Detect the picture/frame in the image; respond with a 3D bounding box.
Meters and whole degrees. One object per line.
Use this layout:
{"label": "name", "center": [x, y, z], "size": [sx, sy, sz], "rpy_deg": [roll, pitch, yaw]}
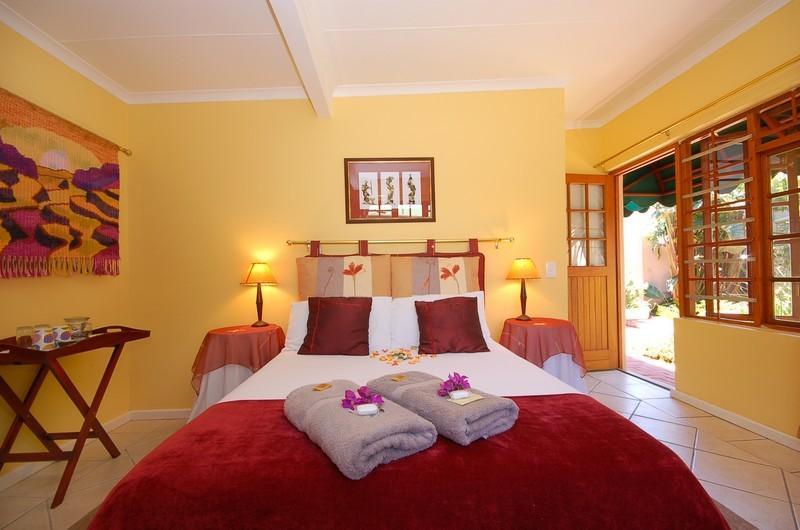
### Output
{"label": "picture/frame", "center": [-0.134, -0.737, 4.971], "size": [0.727, 0.477, 0.027], "rpy_deg": [0, -3, -3]}
